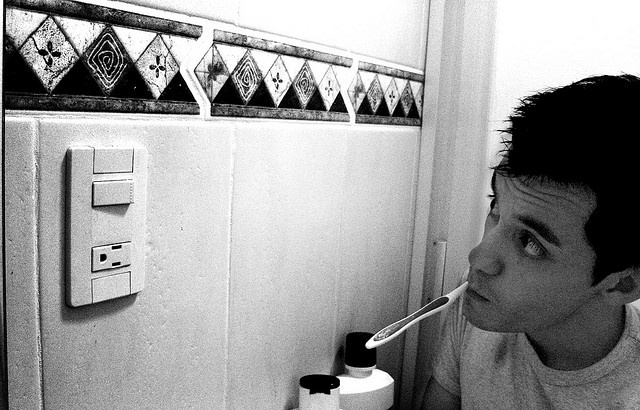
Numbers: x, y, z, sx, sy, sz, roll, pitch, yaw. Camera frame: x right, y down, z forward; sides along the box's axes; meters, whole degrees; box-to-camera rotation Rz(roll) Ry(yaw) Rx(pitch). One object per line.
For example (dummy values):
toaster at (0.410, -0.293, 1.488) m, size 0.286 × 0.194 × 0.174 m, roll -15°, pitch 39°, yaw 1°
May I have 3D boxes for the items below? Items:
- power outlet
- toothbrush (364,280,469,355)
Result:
power outlet at (-0.365, 0.038, 0.956) m, size 0.033 × 0.269 × 0.152 m, roll 10°, pitch 11°, yaw 34°
toothbrush at (0.268, 0.250, 1.327) m, size 0.425 × 0.019 × 0.047 m, roll -19°, pitch 10°, yaw -35°
